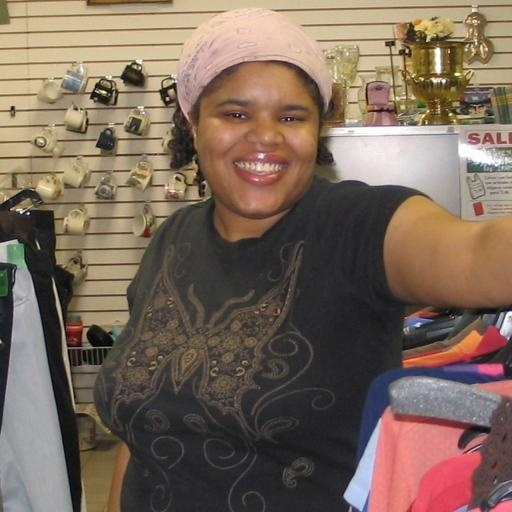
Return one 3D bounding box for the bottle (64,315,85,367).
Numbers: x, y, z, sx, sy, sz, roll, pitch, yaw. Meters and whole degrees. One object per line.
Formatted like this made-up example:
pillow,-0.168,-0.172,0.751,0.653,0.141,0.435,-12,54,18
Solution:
bottle,-1.198,0.559,3.461,0.103,0.334,0.211,-7,7,-20
